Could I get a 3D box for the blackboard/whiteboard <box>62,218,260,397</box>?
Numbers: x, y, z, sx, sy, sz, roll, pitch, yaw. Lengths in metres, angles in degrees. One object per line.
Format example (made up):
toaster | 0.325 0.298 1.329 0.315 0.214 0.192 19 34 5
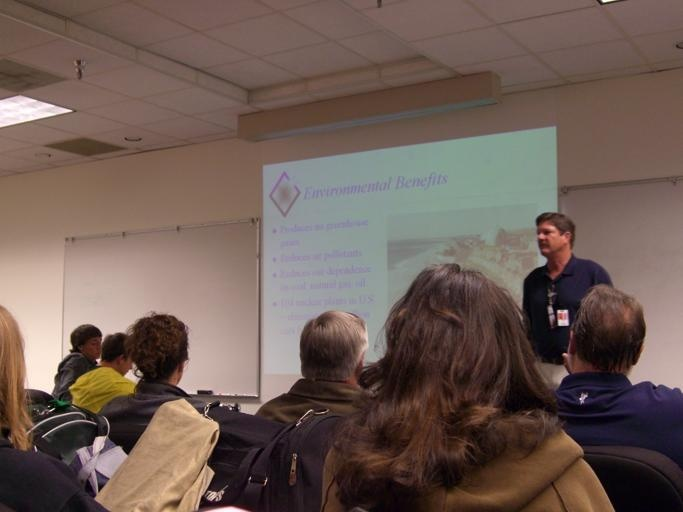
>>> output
blackboard/whiteboard | -1.708 0.484 5.403 1.962 1.426 0.088 -3 -9 23
